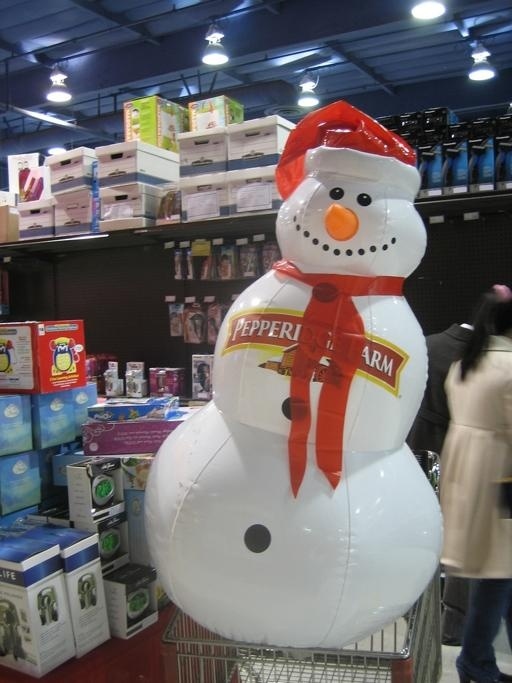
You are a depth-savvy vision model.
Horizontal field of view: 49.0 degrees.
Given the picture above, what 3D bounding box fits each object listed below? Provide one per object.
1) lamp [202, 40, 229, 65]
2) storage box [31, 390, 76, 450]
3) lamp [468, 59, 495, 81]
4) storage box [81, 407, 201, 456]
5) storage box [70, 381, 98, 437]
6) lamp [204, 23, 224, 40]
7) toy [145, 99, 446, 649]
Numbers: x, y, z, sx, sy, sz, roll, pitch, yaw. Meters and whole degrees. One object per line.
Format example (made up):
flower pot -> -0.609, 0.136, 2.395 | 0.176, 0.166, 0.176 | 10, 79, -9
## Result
lamp -> -0.363, -2.513, 4.893 | 0.206, 0.181, 0.216 | -4, 12, -12
storage box -> -0.735, 0.268, 1.993 | 0.117, 0.193, 0.155 | -1, 0, 43
lamp -> 2.198, -2.651, 5.486 | 0.205, 0.169, 0.267 | 4, 13, 24
storage box -> -0.338, 0.249, 1.483 | 0.181, 0.050, 0.204 | 1, 2, 44
storage box -> -0.625, 0.251, 2.093 | 0.118, 0.159, 0.109 | -1, -12, -20
lamp -> -0.360, -2.643, 4.802 | 0.124, 0.131, 0.222 | -3, 12, -7
toy -> 0.063, 0.076, 1.072 | 0.557, 0.880, 0.471 | 1, 13, 13
